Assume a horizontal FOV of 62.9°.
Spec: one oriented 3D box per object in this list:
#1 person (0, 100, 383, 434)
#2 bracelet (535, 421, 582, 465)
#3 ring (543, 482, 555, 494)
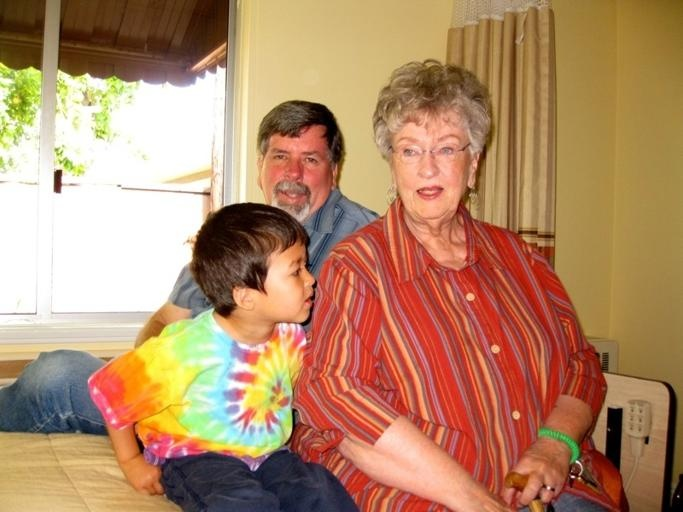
[{"bbox_3d":[-0.556,-0.007,2.539,1.648,1.349,0.833,2,4,-20],"label":"person"},{"bbox_3d":[0.600,0.510,1.562,0.107,0.042,0.095,29,19,28],"label":"bracelet"},{"bbox_3d":[0.544,0.617,1.470,0.021,0.024,0.024,-13,-31,-10],"label":"ring"}]
